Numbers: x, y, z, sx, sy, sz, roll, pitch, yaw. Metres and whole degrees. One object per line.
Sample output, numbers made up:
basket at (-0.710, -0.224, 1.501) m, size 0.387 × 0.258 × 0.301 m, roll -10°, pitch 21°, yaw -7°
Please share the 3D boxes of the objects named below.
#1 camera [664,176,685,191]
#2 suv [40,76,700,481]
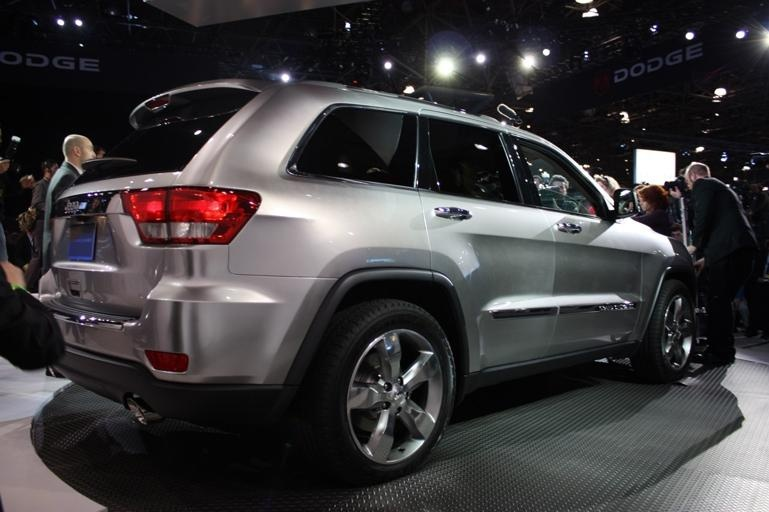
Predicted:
camera at (4.169, -1.030, 6.837) m, size 0.323 × 0.139 × 0.317 m, roll -1°, pitch -6°, yaw 22°
suv at (0.323, 0.058, 3.585) m, size 4.139 × 1.533 × 2.016 m, roll -3°, pitch 1°, yaw -40°
